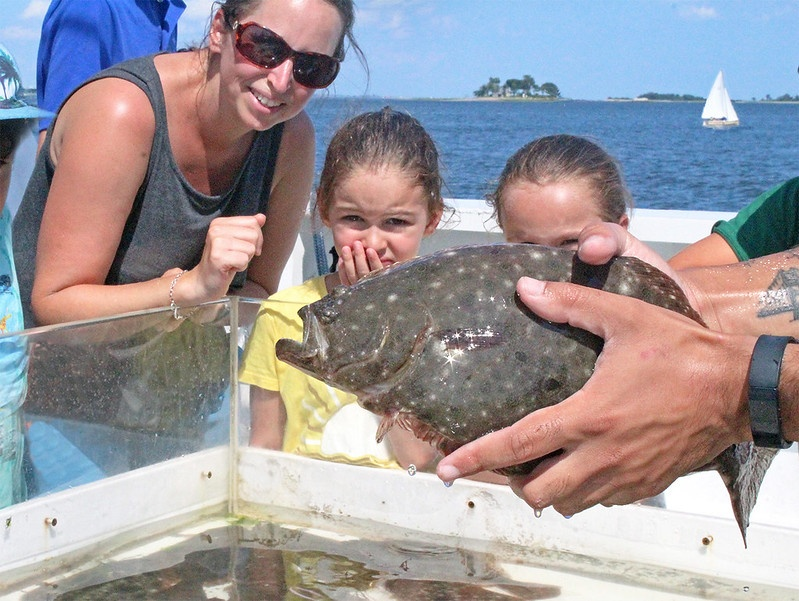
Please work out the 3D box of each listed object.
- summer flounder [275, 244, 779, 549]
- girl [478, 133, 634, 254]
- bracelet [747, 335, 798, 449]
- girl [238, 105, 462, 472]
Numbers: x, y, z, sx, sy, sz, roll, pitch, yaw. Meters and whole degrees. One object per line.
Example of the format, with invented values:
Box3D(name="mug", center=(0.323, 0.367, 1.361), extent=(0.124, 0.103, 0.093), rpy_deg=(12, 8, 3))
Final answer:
Box3D(name="summer flounder", center=(0.228, 0.157, 2.952), extent=(1.220, 0.627, 0.318), rpy_deg=(1, 20, -7))
Box3D(name="girl", center=(0.699, -0.539, 4.311), extent=(0.663, 0.520, 0.578), rpy_deg=(18, 35, 31))
Box3D(name="bracelet", center=(1.152, 0.278, 2.917), extent=(0.163, 0.329, 0.217), rpy_deg=(10, 21, 15))
Box3D(name="girl", center=(-0.295, 0.100, 4.925), extent=(1.012, 2.386, 0.688), rpy_deg=(4, 33, -4))
